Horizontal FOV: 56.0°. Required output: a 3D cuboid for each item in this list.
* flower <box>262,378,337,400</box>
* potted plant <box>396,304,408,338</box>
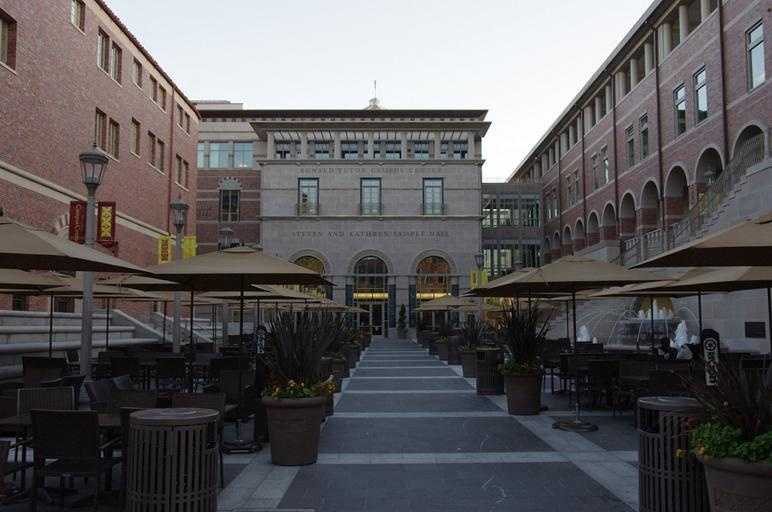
[{"bbox_3d":[-1.681,2.586,14.035,1.387,0.383,0.593,1,-10,-11],"label":"flower"},{"bbox_3d":[1.177,4.782,52.727,0.748,2.424,1.096,-2,-9,7],"label":"potted plant"}]
